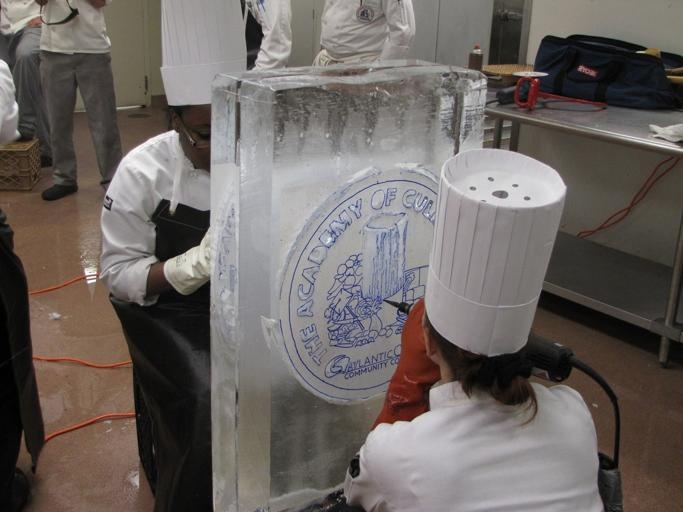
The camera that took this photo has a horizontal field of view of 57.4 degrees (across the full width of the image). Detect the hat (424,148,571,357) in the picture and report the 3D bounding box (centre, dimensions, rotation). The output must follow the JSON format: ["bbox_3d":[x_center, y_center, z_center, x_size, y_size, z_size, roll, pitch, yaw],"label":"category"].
[{"bbox_3d":[0.264,-0.007,1.106,0.211,0.331,0.138,11,28,16],"label":"hat"}]

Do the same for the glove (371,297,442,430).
[{"bbox_3d":[0.120,0.218,1.345,0.197,0.242,0.070,-17,18,-42],"label":"glove"}]

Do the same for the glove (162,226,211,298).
[{"bbox_3d":[-0.440,0.013,1.750,0.067,0.167,0.116,29,36,-22],"label":"glove"}]
